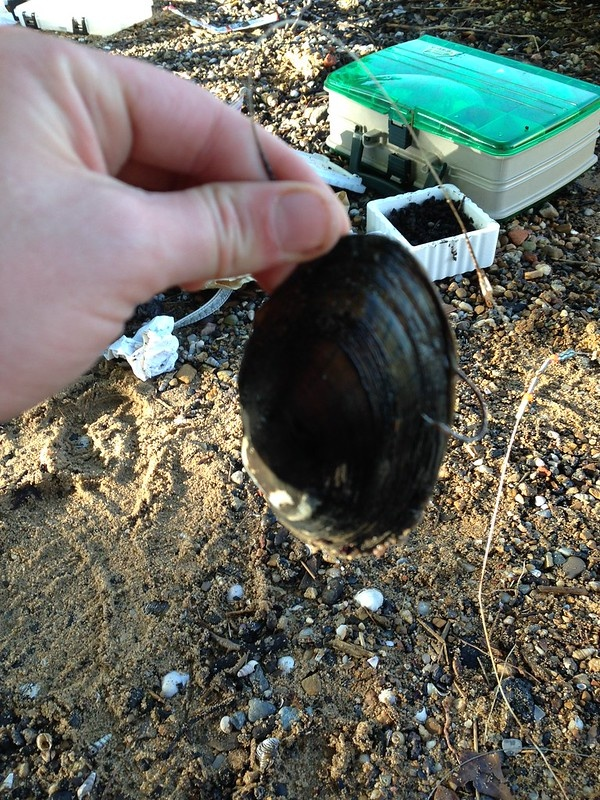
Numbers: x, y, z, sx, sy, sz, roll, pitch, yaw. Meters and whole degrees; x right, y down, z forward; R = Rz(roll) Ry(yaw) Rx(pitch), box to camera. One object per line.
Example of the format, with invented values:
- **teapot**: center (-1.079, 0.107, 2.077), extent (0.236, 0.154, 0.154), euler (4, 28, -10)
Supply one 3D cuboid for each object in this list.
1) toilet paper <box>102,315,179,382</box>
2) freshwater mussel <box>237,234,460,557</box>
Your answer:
- **toilet paper**: center (-0.739, -0.223, 2.935), extent (0.323, 0.362, 0.149), euler (20, 67, -20)
- **freshwater mussel**: center (0.084, 0.013, 1.239), extent (0.364, 0.521, 0.390), euler (-6, 37, -2)
